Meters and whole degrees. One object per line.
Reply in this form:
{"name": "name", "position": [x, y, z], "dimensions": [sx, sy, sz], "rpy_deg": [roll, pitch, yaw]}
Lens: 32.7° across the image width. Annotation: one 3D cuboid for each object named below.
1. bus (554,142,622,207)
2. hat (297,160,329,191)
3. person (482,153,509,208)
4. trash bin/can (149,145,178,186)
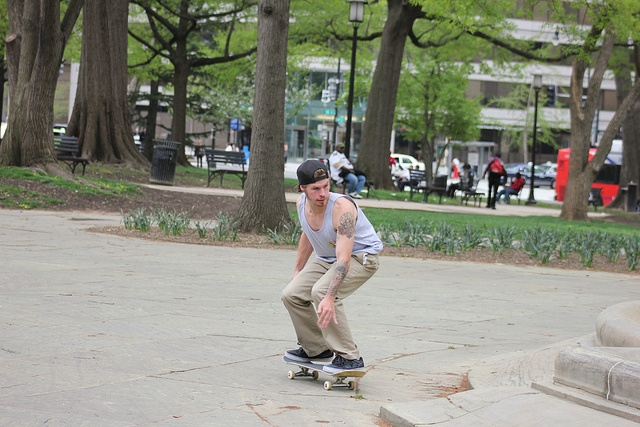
{"name": "bus", "position": [12.412, -1.718, 50.433], "dimensions": [2.870, 2.695, 4.441], "rpy_deg": [5, 14, 12]}
{"name": "hat", "position": [-0.160, -0.738, 21.543], "dimensions": [0.598, 0.606, 0.357], "rpy_deg": [1, 15, -2]}
{"name": "person", "position": [6.593, -1.224, 41.238], "dimensions": [0.702, 1.970, 1.136], "rpy_deg": [0, 0, 14]}
{"name": "trash bin/can", "position": [-5.510, -1.711, 37.888], "dimensions": [0.964, 1.504, 0.733], "rpy_deg": [-7, 17, -31]}
